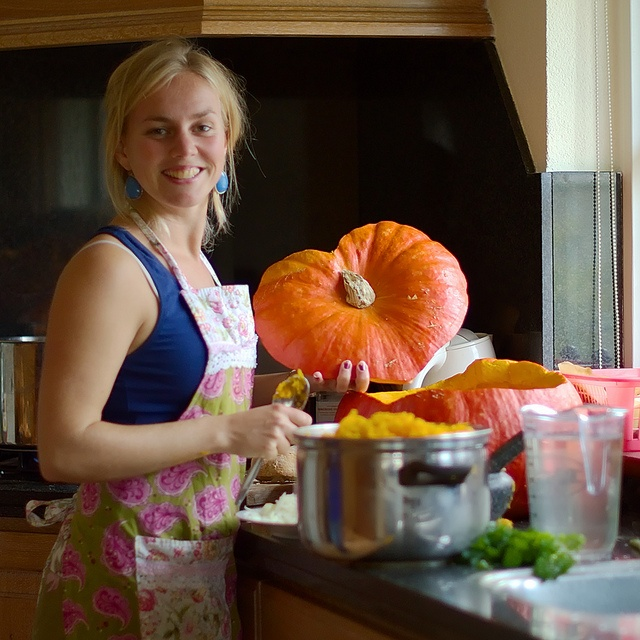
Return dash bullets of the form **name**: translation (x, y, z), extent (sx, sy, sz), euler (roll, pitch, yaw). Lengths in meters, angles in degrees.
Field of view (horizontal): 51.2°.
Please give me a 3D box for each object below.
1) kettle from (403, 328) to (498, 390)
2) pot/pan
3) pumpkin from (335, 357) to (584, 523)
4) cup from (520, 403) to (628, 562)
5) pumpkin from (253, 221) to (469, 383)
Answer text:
- **kettle**: translation (0.258, 0.068, 1.321), extent (0.164, 0.162, 0.118), euler (-4, -1, -36)
- **pot/pan**: translation (0.071, 0.168, 0.635), extent (0.191, 0.125, 0.063), euler (-2, 2, 4)
- **pumpkin**: translation (0.077, 0.180, 0.695), extent (0.194, 0.134, 0.211), euler (0, -5, 11)
- **cup**: translation (0.263, 0.167, 0.690), extent (0.099, 0.155, 0.054), euler (-1, 3, 23)
- **pumpkin**: translation (0.056, -0.046, 1.041), extent (0.235, 0.279, 0.231), euler (-5, 11, -28)
